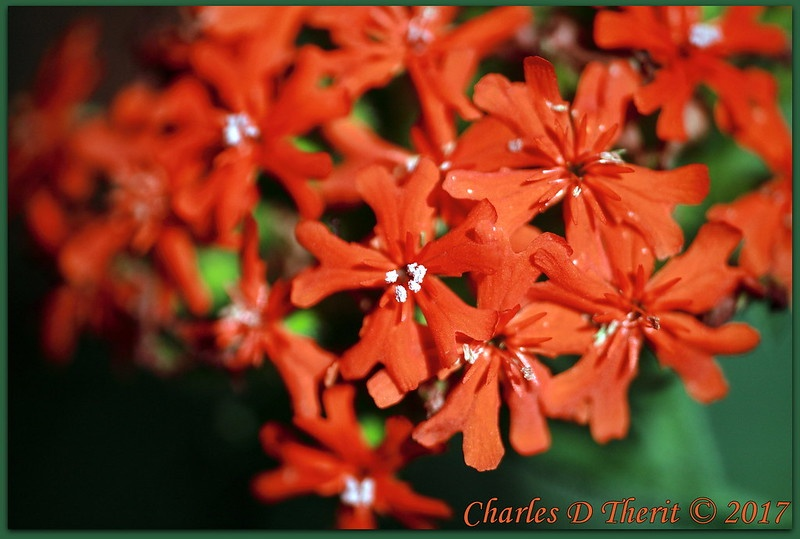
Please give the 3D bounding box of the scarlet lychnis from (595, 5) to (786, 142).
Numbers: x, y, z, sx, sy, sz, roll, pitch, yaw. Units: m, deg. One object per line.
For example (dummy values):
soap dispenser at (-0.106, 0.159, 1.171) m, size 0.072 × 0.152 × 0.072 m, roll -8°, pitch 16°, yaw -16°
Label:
scarlet lychnis at (0.818, -0.605, 2.364) m, size 0.430 × 0.106 × 0.449 m, roll -6°, pitch 82°, yaw -14°

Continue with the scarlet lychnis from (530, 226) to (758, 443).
scarlet lychnis at (0.633, 0.131, 2.411) m, size 0.585 × 0.559 × 0.169 m, roll -64°, pitch 22°, yaw 5°
